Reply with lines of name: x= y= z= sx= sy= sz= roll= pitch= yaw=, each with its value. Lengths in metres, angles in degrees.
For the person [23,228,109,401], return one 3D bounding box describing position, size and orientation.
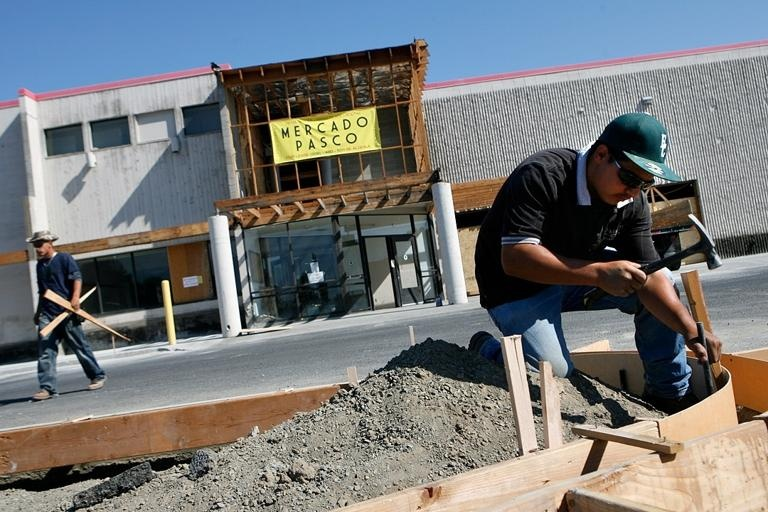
person: x=-7.847 y=1.390 z=25.844 sx=1.552 sy=4.004 sz=0.895 roll=-5 pitch=2 yaw=-15
